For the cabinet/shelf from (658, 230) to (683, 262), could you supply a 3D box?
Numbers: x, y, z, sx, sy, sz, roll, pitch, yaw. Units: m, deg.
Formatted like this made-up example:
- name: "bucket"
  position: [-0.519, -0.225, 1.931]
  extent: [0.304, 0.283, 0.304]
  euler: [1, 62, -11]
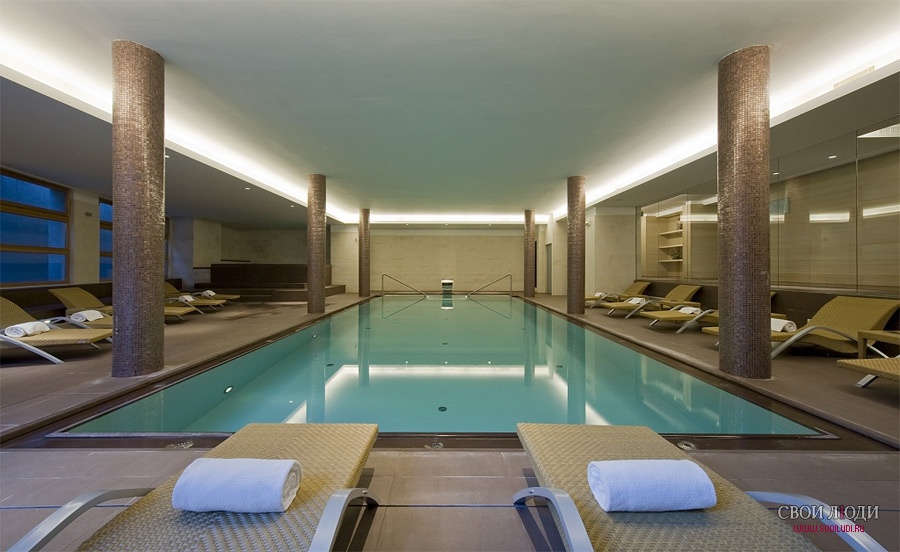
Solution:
- name: "cabinet/shelf"
  position: [6.818, -0.921, 14.648]
  extent: [0.447, 1.000, 1.222]
  euler: [2, -2, -2]

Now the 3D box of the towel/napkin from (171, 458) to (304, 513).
- name: "towel/napkin"
  position: [-2.101, 2.069, 4.696]
  extent: [0.928, 0.256, 0.630]
  euler: [2, -3, -4]
